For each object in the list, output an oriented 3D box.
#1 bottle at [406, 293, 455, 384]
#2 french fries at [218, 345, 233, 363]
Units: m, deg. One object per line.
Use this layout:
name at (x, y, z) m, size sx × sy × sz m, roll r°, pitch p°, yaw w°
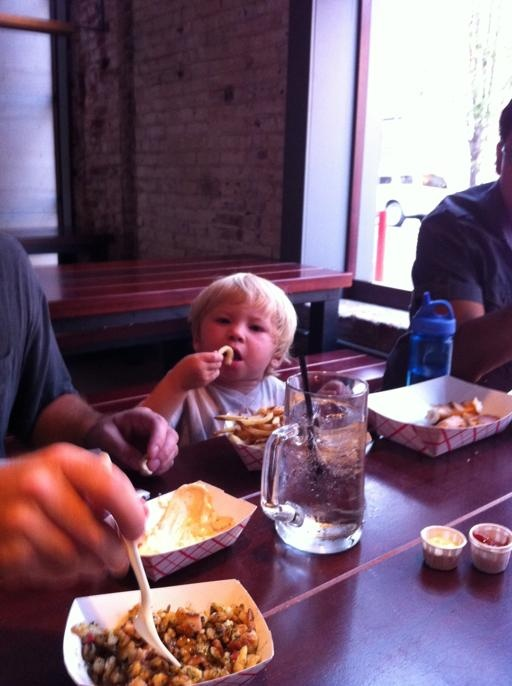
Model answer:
bottle at (0.425, -0.006, 1.279) m, size 0.111 × 0.228 × 0.369 m, roll 5°, pitch 9°, yaw 20°
french fries at (-0.074, 0.026, 1.270) m, size 0.012 × 0.040 × 0.038 m, roll 12°, pitch 1°, yaw -11°
